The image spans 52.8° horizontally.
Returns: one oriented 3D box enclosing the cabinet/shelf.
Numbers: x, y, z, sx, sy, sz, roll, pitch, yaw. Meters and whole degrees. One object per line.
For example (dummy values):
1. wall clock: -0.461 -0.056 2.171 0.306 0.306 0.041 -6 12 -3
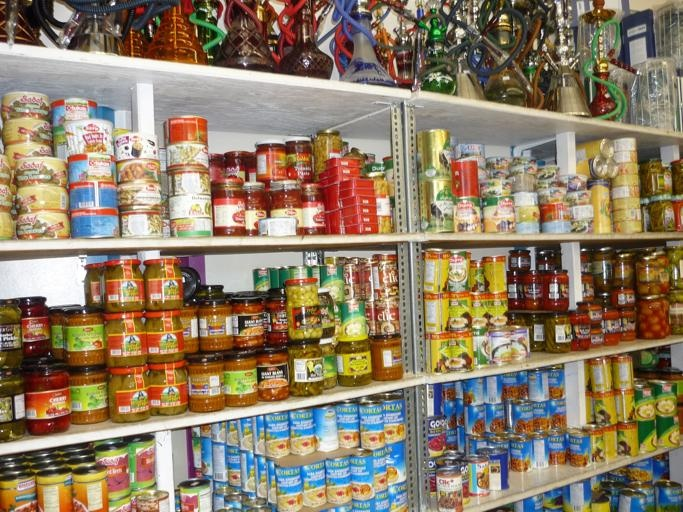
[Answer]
1. cabinet/shelf: -0.046 0.087 2.581 2.289 1.057 0.386 0 -5 -33
